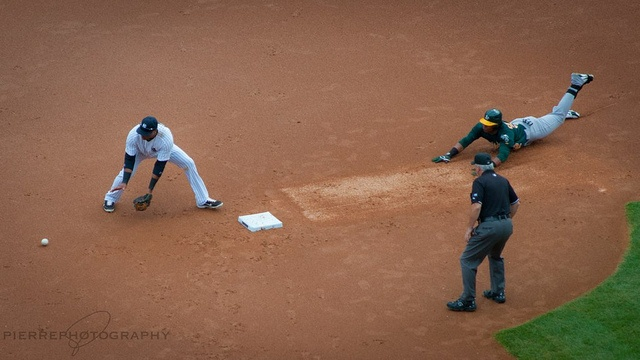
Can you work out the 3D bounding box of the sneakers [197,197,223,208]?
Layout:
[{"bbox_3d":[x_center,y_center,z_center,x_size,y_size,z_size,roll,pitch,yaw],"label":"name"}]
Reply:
[{"bbox_3d":[-2.898,0.614,17.343,0.697,0.239,0.244,-3,11,7],"label":"sneakers"}]

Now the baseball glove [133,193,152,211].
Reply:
[{"bbox_3d":[-4.529,0.576,16.693,0.537,0.293,0.245,-40,13,-24],"label":"baseball glove"}]

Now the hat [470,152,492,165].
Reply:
[{"bbox_3d":[3.659,-0.458,14.799,0.398,0.221,0.472,-2,18,-8],"label":"hat"}]

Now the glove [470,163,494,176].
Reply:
[{"bbox_3d":[3.683,-0.258,14.884,0.470,0.297,0.565,-5,2,-31],"label":"glove"}]

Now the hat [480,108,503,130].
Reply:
[{"bbox_3d":[4.820,-1.690,18.244,0.668,0.278,0.442,-11,37,-29],"label":"hat"}]

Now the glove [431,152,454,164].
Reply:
[{"bbox_3d":[3.596,-0.609,19.083,0.460,0.159,0.263,-29,49,2],"label":"glove"}]

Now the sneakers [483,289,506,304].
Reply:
[{"bbox_3d":[4.034,2.669,14.977,0.514,0.224,0.222,29,43,34],"label":"sneakers"}]
